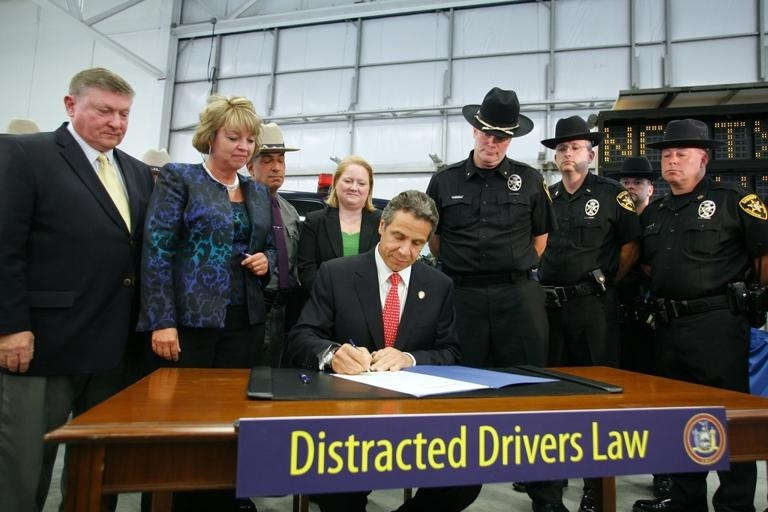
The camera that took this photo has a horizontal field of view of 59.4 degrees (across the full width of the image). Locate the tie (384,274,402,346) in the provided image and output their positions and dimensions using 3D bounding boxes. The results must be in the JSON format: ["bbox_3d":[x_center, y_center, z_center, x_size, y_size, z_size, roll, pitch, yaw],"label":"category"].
[{"bbox_3d":[0.055,0.314,3.922,0.089,0.409,0.062,8,-21,-4],"label":"tie"}]

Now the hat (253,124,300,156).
[{"bbox_3d":[-0.858,-0.895,5.193,0.411,0.140,0.433,0,1,-13],"label":"hat"}]

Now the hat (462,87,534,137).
[{"bbox_3d":[0.776,-0.988,4.750,0.418,0.160,0.437,10,31,-7],"label":"hat"}]

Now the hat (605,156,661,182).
[{"bbox_3d":[2.453,-0.836,6.580,0.420,0.148,0.468,3,-7,28],"label":"hat"}]

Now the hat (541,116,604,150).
[{"bbox_3d":[1.495,-0.952,5.298,0.323,0.120,0.366,-3,-5,22],"label":"hat"}]

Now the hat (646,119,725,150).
[{"bbox_3d":[2.550,-1.008,5.627,0.677,0.246,0.741,3,5,23],"label":"hat"}]

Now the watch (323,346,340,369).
[{"bbox_3d":[-0.295,0.545,3.634,0.044,0.103,0.081,5,-13,25],"label":"watch"}]

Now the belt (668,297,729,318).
[{"bbox_3d":[2.170,0.352,4.650,0.390,0.175,0.058,1,0,21],"label":"belt"}]
